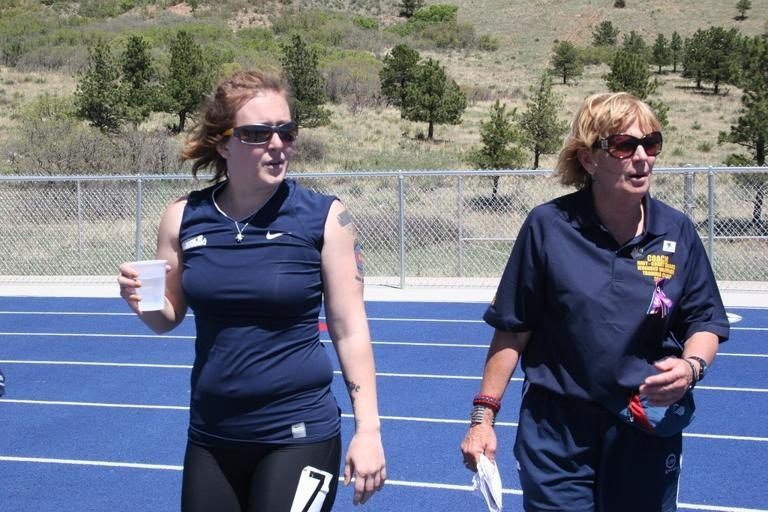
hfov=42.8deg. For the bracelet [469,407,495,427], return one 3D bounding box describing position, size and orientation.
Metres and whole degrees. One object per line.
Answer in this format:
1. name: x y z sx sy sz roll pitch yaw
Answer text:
1. bracelet: 1.098 1.769 10.986 0.240 0.191 0.181 -7 8 -28
